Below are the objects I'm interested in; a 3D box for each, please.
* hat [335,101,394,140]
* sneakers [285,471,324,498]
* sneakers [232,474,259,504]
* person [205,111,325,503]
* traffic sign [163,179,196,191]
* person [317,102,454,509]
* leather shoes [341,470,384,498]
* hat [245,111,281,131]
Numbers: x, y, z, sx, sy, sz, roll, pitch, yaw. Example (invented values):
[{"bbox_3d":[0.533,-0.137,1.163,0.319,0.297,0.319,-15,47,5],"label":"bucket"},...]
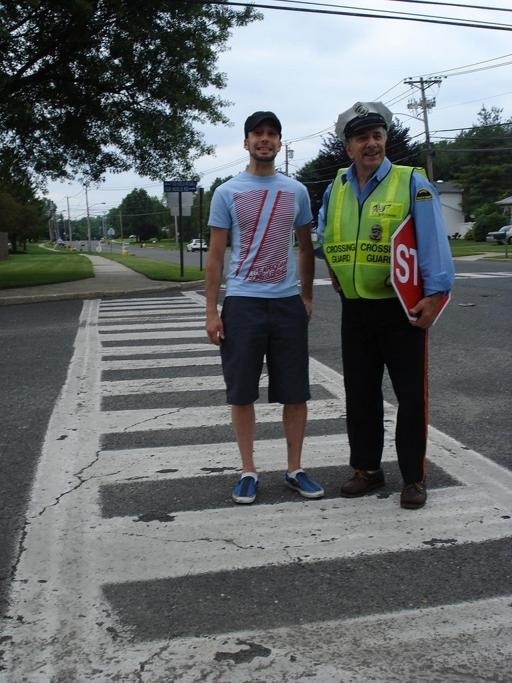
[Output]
[{"bbox_3d":[0.520,-1.091,3.119,0.270,0.169,0.215,0,8,11],"label":"hat"},{"bbox_3d":[0.258,0.762,3.408,0.094,0.081,0.223,-10,9,-30],"label":"sneakers"},{"bbox_3d":[-0.061,0.768,3.308,0.126,0.119,0.153,-2,7,-3],"label":"sneakers"},{"bbox_3d":[0.031,-0.199,3.395,0.588,2.014,0.456,-2,8,1],"label":"person"},{"bbox_3d":[-2.506,-5.117,20.742,1.044,0.445,0.802,-3,7,-10],"label":"traffic sign"},{"bbox_3d":[0.623,-0.176,3.198,0.346,2.003,0.670,-8,10,-37],"label":"person"},{"bbox_3d":[0.584,0.755,3.393,0.244,0.102,0.109,-3,0,-39],"label":"leather shoes"},{"bbox_3d":[0.032,-1.145,3.295,0.178,0.112,0.153,-2,7,-1],"label":"hat"}]
